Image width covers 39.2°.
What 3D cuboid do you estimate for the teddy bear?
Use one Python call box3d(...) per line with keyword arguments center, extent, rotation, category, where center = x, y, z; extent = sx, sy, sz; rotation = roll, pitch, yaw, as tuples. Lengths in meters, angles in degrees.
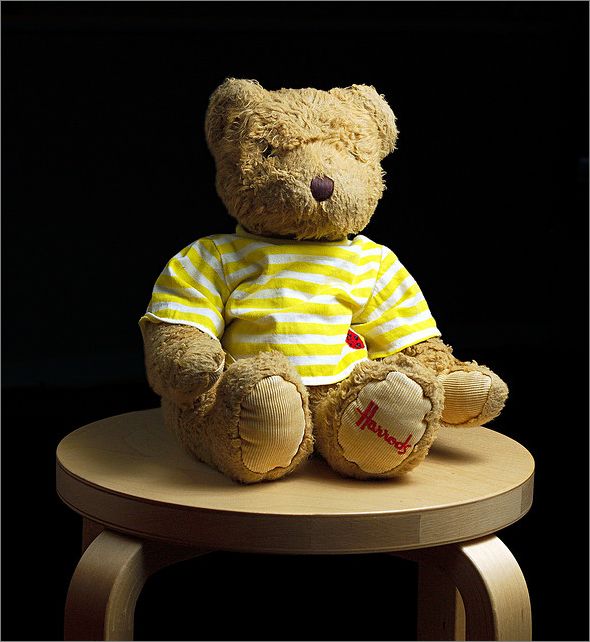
box3d(center=(0.040, -0.036, 1.071), extent=(0.458, 0.404, 0.363), rotation=(8, 21, -18), category="teddy bear")
